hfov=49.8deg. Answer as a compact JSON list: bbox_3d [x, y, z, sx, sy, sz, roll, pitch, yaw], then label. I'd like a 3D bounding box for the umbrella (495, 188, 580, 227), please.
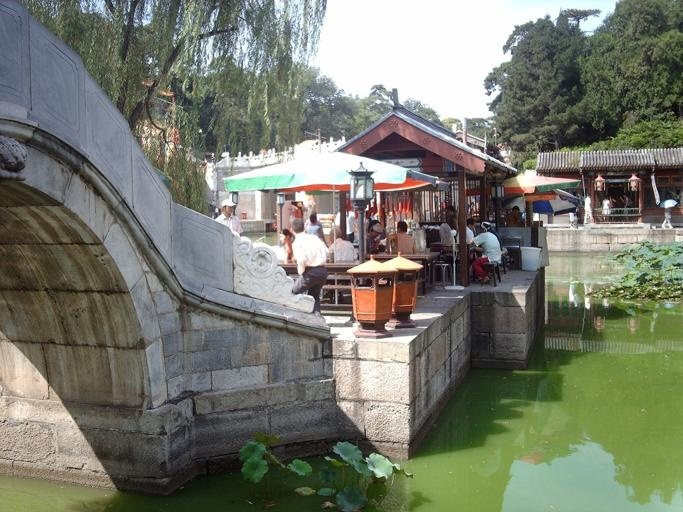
[{"bbox_3d":[5.495,-1.335,20.649,1.925,1.073,1.869,-7,7,-35],"label":"umbrella"}]

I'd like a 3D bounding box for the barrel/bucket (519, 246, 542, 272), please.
[{"bbox_3d":[3.910,0.075,15.298,0.382,0.413,0.432,2,-11,-3],"label":"barrel/bucket"}]

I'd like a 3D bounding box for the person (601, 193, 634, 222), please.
[{"bbox_3d":[12.223,-1.956,33.029,1.311,1.075,1.425,-3,8,12],"label":"person"}]

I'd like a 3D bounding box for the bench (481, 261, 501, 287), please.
[{"bbox_3d":[2.658,0.317,13.105,0.322,0.468,0.460,0,4,18],"label":"bench"}]

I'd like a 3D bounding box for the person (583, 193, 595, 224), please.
[{"bbox_3d":[10.884,-2.015,32.530,0.388,1.166,0.787,1,8,18],"label":"person"}]

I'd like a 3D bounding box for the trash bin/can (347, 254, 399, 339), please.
[{"bbox_3d":[0.388,0.498,9.063,0.605,0.895,0.552,-3,8,-10],"label":"trash bin/can"}]
